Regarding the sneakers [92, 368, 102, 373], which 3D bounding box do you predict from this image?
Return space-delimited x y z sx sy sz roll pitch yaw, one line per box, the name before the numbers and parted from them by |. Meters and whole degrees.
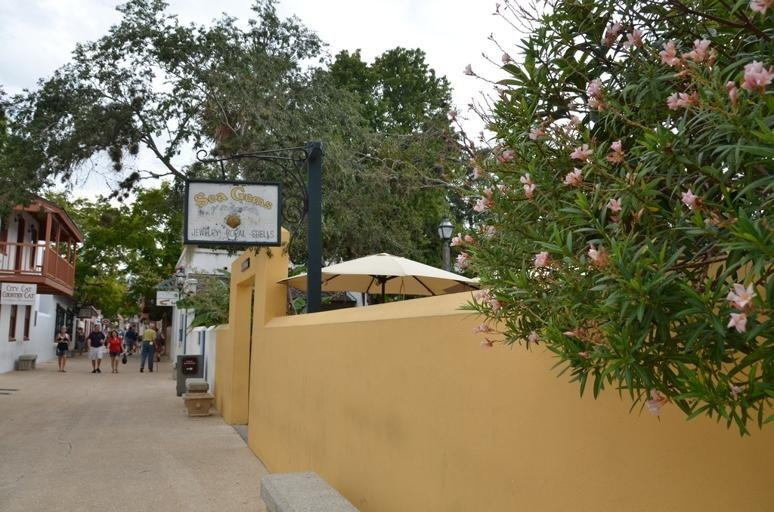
sneakers | -12.542 4.895 26.753 0.540 0.260 0.188 5 0 26
